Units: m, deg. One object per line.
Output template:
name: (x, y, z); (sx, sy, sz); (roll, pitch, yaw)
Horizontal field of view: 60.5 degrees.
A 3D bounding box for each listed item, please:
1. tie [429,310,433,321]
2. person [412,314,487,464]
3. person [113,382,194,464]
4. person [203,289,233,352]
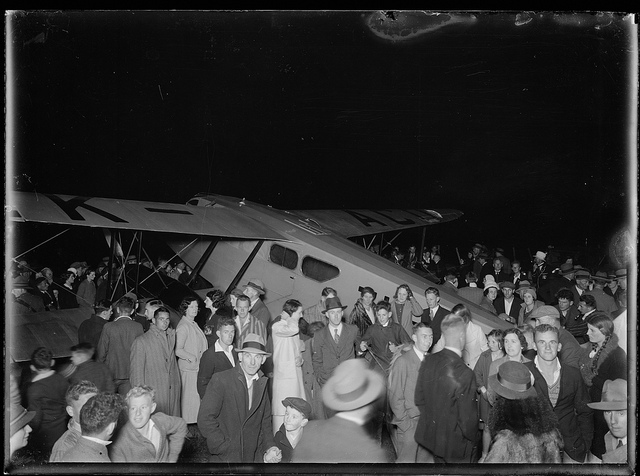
tie: (2.062, 1.435, 10.194); (0.038, 0.095, 0.154); (24, -13, 10)
person: (1.646, 1.903, 6.959); (0.710, 1.799, 0.460); (3, -8, 13)
person: (-1.960, 2.185, 6.407); (0.789, 0.907, 0.399); (7, -8, -21)
person: (-1.692, 1.385, 9.066); (0.432, 1.046, 0.824); (3, 4, 1)
